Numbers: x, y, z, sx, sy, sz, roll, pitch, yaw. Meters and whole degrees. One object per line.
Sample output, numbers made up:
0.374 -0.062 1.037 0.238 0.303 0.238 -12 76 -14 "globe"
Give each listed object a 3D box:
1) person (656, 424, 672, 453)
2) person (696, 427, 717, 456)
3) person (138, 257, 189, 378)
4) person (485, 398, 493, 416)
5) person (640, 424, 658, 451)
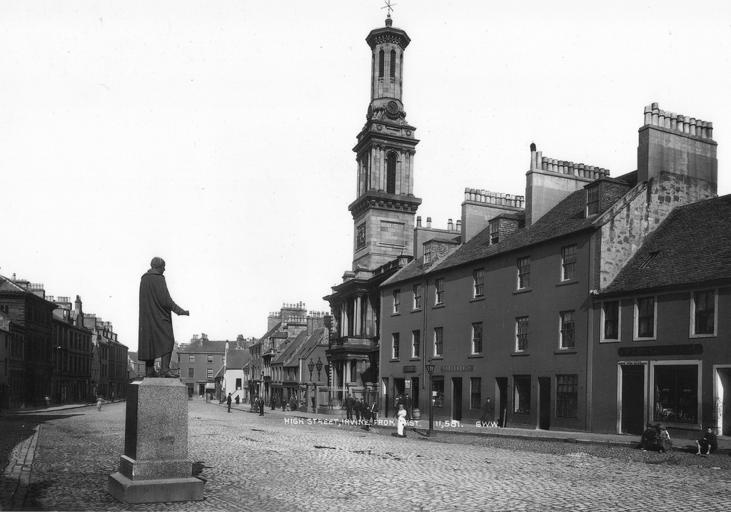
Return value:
12.345 7.562 40.481 0.366 0.741 1.338 -4 -36 17 "person"
13.656 7.435 39.276 0.918 1.121 0.687 11 -15 -31 "person"
-6.599 1.957 31.172 1.256 3.803 0.706 2 -12 5 "person"
6.768 8.130 53.042 0.335 0.960 0.895 -2 -14 20 "person"
11.700 7.485 40.305 0.425 0.995 0.895 11 -15 -33 "person"
